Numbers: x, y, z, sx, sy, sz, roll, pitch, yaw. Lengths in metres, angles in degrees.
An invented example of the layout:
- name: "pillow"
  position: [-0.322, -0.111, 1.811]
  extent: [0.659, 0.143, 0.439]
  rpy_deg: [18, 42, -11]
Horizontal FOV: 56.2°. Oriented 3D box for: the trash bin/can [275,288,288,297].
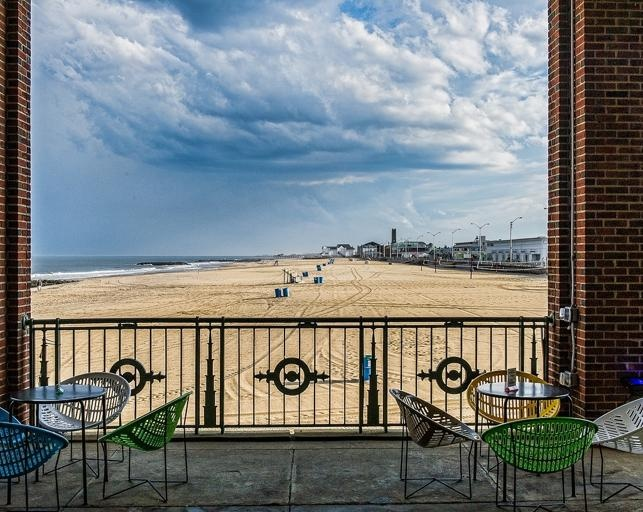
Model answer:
- name: "trash bin/can"
  position: [-2.250, 2.094, 34.261]
  extent: [0.523, 0.310, 0.499]
  rpy_deg: [0, 1, 25]
